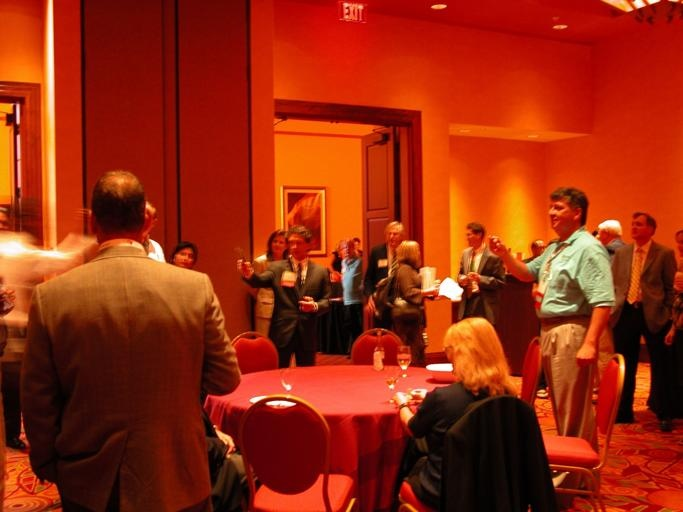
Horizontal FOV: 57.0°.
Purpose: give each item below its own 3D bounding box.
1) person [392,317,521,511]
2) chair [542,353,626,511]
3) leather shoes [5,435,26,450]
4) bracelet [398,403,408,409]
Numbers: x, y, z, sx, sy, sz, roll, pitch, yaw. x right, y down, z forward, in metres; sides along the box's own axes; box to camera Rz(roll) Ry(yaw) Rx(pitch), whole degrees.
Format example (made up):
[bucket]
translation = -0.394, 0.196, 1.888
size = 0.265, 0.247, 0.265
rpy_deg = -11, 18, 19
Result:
[person]
translation = 0.583, 0.772, 3.190
size = 0.524, 0.933, 0.858
rpy_deg = 2, 3, -10
[chair]
translation = 1.409, 1.082, 3.694
size = 0.400, 1.052, 0.858
rpy_deg = 4, 3, 23
[leather shoes]
translation = -2.599, 1.497, 5.012
size = 0.178, 0.077, 0.070
rpy_deg = 2, 1, 22
[bracelet]
translation = 0.332, 0.809, 3.380
size = 0.030, 0.009, 0.030
rpy_deg = -27, 1, -35
